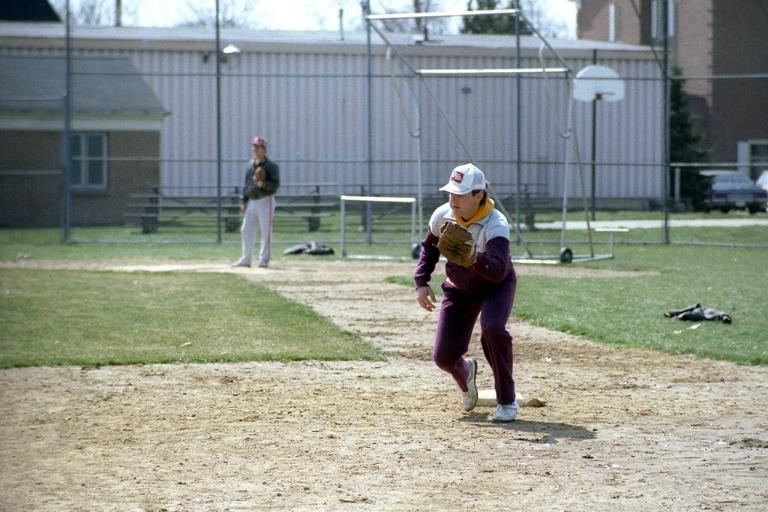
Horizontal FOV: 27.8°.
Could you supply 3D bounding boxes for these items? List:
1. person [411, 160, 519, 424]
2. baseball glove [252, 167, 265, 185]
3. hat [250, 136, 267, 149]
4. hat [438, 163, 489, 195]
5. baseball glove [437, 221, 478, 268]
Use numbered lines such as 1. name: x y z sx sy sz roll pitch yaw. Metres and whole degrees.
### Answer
1. person: 1.295 0.576 22.780 1.408 3.713 0.938 0 3 6
2. baseball glove: -2.394 -1.499 30.335 0.255 0.310 0.117 4 -2 -15
3. hat: -2.407 -2.153 30.740 0.384 0.233 0.504 3 0 20
4. hat: 1.214 -1.079 22.660 0.640 0.315 0.408 -3 7 -20
5. baseball glove: 1.127 -0.219 22.392 0.427 0.183 0.531 2 44 -8
